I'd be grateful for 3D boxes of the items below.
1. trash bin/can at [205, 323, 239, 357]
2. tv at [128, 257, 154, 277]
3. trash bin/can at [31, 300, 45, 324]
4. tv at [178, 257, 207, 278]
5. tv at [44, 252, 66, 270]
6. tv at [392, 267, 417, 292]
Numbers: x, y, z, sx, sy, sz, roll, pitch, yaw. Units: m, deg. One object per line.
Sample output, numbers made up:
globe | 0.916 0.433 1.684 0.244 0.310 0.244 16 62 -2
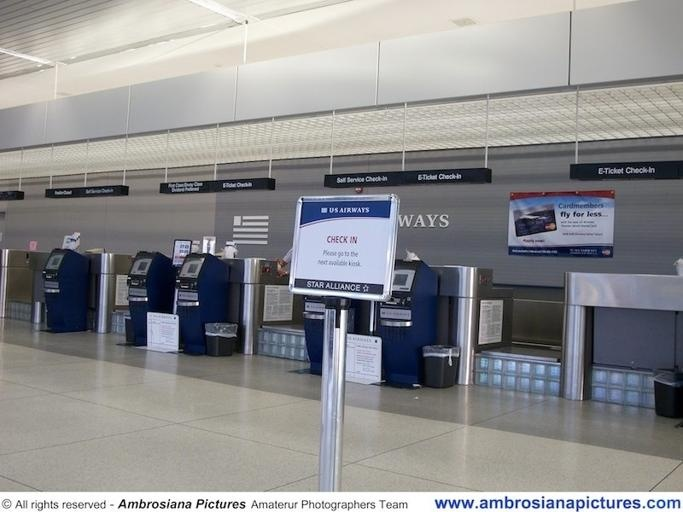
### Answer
trash bin/can | -1.810 1.238 8.092 0.514 0.530 0.556 -5 -7 38
tv | -3.311 0.189 8.927 0.343 0.273 0.169 -6 -32 23
trash bin/can | -6.197 1.145 11.030 0.231 0.397 0.394 4 -2 -29
tv | -2.266 0.178 8.242 0.347 0.284 0.166 2 -28 30
tv | -5.175 0.099 9.744 0.366 0.296 0.094 8 -22 34
tv | 0.747 0.291 6.514 0.361 0.285 0.081 5 -7 23
